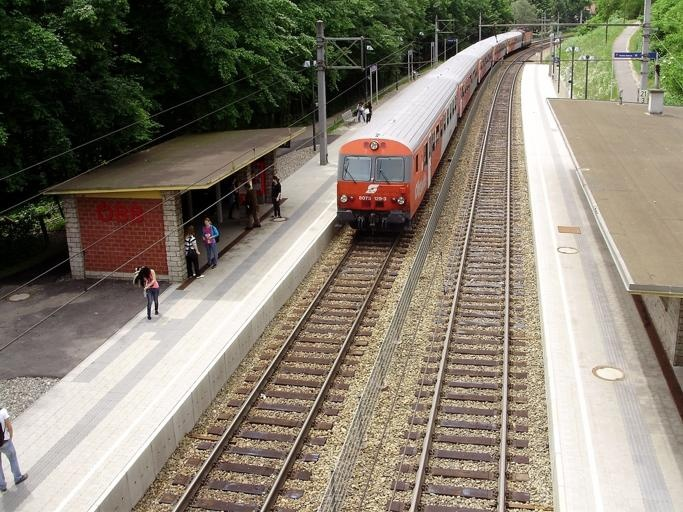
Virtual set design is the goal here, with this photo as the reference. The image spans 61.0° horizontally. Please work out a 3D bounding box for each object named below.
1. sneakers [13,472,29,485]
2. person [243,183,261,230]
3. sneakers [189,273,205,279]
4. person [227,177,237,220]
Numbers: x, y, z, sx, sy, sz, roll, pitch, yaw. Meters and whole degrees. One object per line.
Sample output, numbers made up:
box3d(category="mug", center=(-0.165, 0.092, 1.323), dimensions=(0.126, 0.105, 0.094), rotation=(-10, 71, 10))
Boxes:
box3d(category="sneakers", center=(-6.046, 4.200, 10.941), dimensions=(0.108, 0.095, 0.242), rotation=(14, 29, 27))
box3d(category="person", center=(-3.727, -2.036, 23.574), dimensions=(0.664, 1.664, 1.075), rotation=(-16, 26, -7))
box3d(category="sneakers", center=(-4.741, 0.632, 19.128), dimensions=(0.540, 0.194, 0.174), rotation=(-3, 31, 11))
box3d(category="person", center=(-4.791, -2.565, 25.350), dimensions=(0.648, 2.058, 0.544), rotation=(2, 67, -8))
